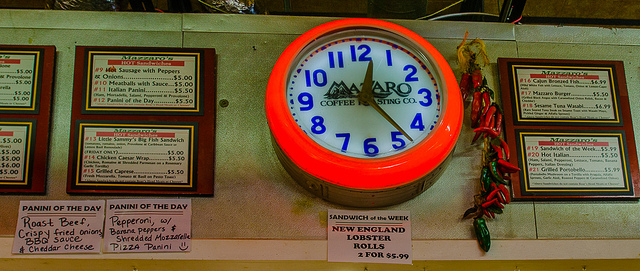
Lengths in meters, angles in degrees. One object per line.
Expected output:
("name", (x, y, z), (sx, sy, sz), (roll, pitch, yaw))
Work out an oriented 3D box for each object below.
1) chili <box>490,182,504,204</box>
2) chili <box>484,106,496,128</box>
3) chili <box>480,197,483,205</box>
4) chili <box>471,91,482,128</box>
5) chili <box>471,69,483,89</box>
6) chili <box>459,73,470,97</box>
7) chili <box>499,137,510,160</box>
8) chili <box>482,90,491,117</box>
("chili", (1.278, 0.413, 3.856), (0.097, 0.148, 0.023), (4, 6, 29))
("chili", (1.248, -0.136, 3.918), (0.085, 0.141, 0.028), (-3, 7, -34))
("chili", (1.173, 0.471, 3.872), (0.010, 0.030, 0.036), (4, 7, -7))
("chili", (1.149, -0.204, 3.939), (0.072, 0.230, 0.070), (11, -3, -9))
("chili", (1.167, -0.419, 3.974), (0.124, 0.115, 0.049), (2, -11, 16))
("chili", (1.101, -0.375, 3.987), (0.064, 0.185, 0.050), (5, -31, 30))
("chili", (1.354, 0.097, 3.915), (0.070, 0.158, 0.060), (3, 6, 19))
("chili", (1.229, -0.240, 3.934), (0.067, 0.174, 0.054), (4, -11, -17))
